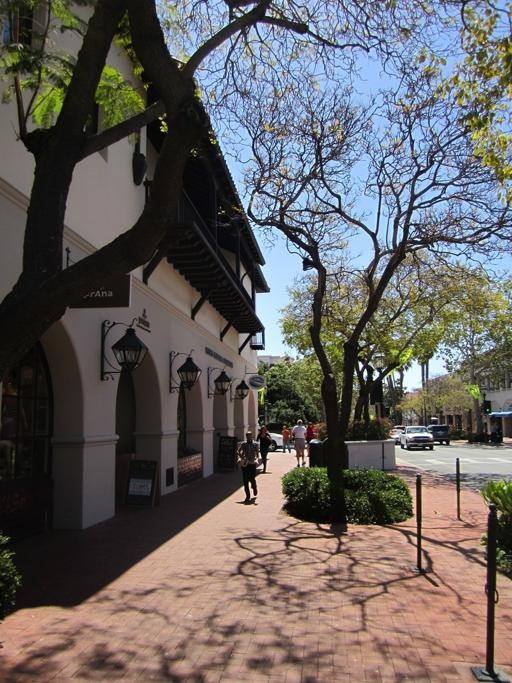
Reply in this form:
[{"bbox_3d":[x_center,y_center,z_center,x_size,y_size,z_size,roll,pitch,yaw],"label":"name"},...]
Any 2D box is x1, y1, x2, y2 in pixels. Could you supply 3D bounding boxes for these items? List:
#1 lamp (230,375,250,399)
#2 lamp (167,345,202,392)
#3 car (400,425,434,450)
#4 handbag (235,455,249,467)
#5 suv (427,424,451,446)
[{"bbox_3d":[-0.730,2.089,23.616,0.674,0.837,1.317,1,-9,-5],"label":"lamp"},{"bbox_3d":[-1.915,0.775,13.581,0.724,1.229,0.542,3,-29,-16],"label":"lamp"},{"bbox_3d":[11.914,7.040,38.248,1.300,1.253,3.316,-2,-15,3],"label":"car"},{"bbox_3d":[-0.319,2.624,11.378,0.247,0.270,0.327,-1,-7,5],"label":"handbag"},{"bbox_3d":[16.187,8.046,45.148,1.394,1.528,2.601,0,2,9],"label":"suv"}]
